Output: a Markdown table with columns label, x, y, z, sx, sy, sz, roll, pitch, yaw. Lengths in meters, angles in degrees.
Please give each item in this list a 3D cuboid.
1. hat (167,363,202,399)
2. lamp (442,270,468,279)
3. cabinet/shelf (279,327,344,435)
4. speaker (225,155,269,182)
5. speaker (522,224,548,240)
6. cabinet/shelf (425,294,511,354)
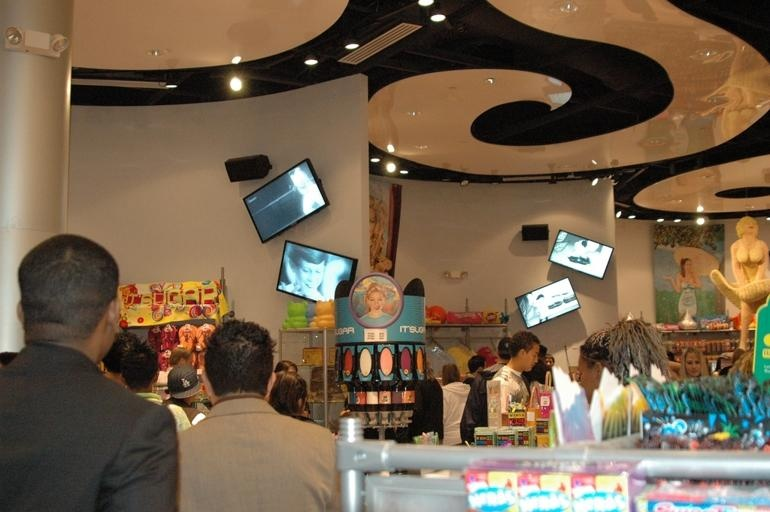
| label | x | y | z | sx | sy | sz | roll | pitch | yaw |
| --- | --- | --- | --- | --- | --- | --- | --- | --- | --- |
| hat | -1.345 | 0.870 | 4.543 | 0.181 | 0.238 | 0.133 | -21 | -43 | -15 |
| lamp | 1.236 | 0.319 | 11.951 | 0.398 | 0.166 | 0.118 | -2 | 5 | 5 |
| cabinet/shelf | -0.696 | 1.280 | 7.277 | 0.518 | 0.984 | 0.492 | -5 | -2 | 33 |
| speaker | -1.642 | -1.051 | 8.110 | 0.547 | 0.293 | 0.273 | -4 | 11 | 15 |
| speaker | 2.644 | -0.430 | 11.917 | 0.443 | 0.294 | 0.247 | -1 | -6 | 5 |
| cabinet/shelf | 1.336 | 1.147 | 11.144 | 1.172 | 1.204 | 0.385 | 0 | 6 | -1 |
